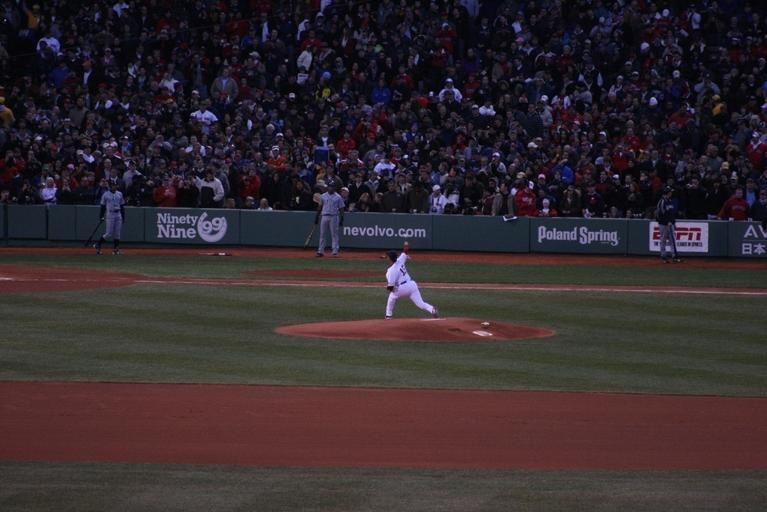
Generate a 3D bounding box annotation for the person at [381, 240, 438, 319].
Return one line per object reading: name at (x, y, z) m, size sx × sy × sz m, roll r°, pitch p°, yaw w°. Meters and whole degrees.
person at (0.593, 0.609, 28.348) m, size 0.978 × 1.658 × 0.608 m, roll 2°, pitch 0°, yaw -1°

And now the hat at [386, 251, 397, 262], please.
hat at (0.218, 0.020, 28.427) m, size 0.246 × 0.352 × 0.239 m, roll 1°, pitch 13°, yaw 5°

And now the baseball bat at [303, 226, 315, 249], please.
baseball bat at (-2.455, -0.657, 39.622) m, size 0.134 × 0.874 × 0.107 m, roll 35°, pitch -33°, yaw -12°
